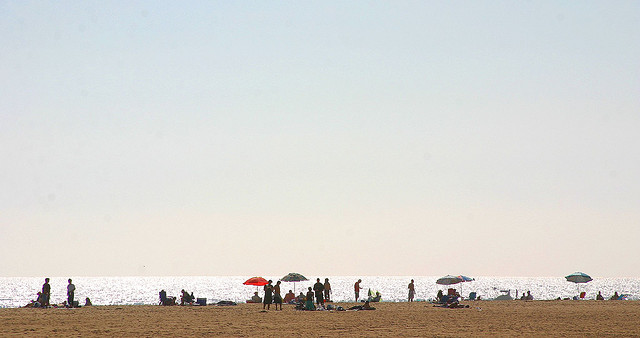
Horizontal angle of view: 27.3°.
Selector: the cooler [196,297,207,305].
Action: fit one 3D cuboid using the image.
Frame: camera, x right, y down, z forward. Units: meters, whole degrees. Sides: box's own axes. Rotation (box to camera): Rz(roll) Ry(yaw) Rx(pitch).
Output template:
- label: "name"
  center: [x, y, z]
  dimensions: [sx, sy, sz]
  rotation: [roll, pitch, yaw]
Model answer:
- label: "cooler"
  center: [-26.676, 29.875, 298.271]
  dimensions: [1.932, 1.182, 1.748]
  rotation: [-1, -4, 4]
